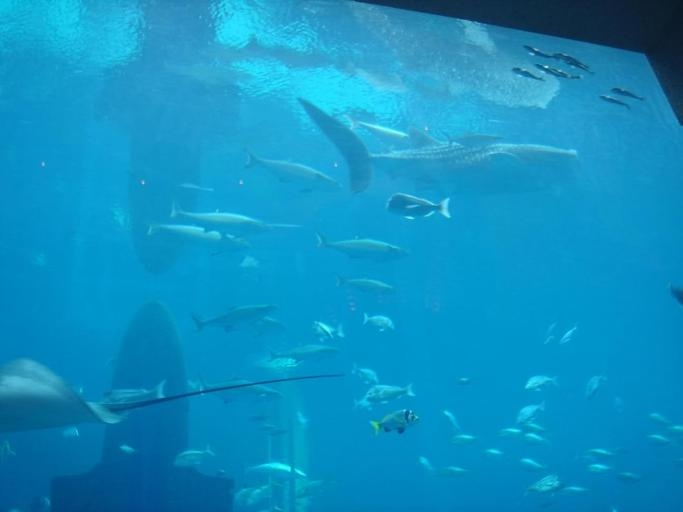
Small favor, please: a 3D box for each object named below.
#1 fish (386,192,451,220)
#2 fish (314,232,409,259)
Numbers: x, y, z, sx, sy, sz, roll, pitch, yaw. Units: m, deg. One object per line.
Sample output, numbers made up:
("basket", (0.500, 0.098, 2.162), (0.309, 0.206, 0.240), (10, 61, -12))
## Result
("fish", (3.359, -2.348, 37.014), (2.594, 1.158, 1.964), (-2, 3, -17))
("fish", (1.173, -0.472, 38.041), (3.999, 1.168, 0.831), (0, -18, -6))
